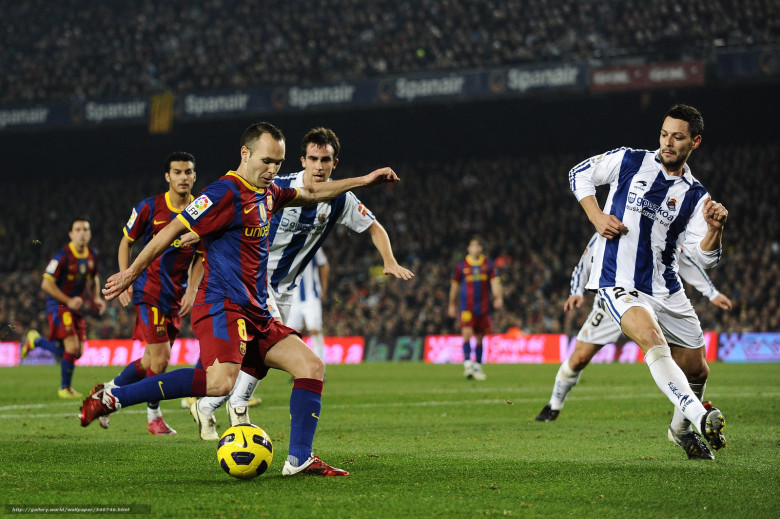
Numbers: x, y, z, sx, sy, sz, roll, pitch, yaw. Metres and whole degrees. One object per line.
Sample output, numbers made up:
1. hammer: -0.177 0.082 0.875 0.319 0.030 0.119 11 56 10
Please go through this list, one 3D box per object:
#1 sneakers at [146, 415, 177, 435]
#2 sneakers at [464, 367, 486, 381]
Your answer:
1. sneakers: -2.936 2.136 12.668 0.428 0.224 0.158 0 0 27
2. sneakers: 1.570 2.190 18.610 0.232 0.145 0.237 5 -3 41
